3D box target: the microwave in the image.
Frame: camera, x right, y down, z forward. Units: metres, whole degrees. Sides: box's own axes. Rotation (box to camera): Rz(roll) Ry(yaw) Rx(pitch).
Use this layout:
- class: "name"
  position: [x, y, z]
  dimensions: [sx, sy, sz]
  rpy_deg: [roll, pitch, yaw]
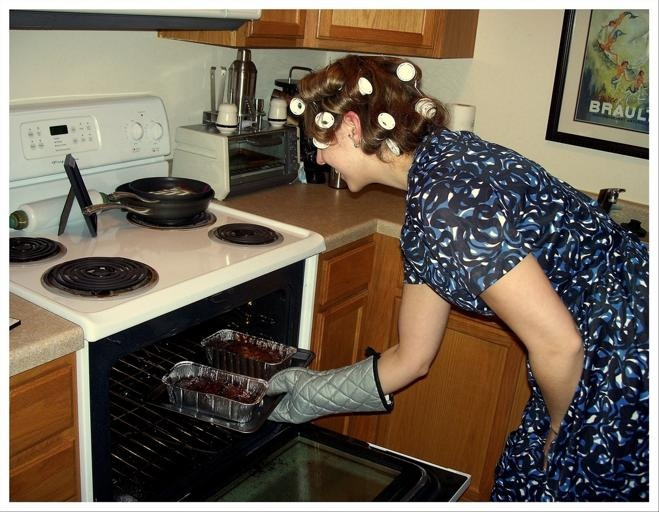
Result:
- class: "microwave"
  position: [-0.364, -0.395, 2.052]
  dimensions: [0.329, 0.223, 0.426]
  rpy_deg: [19, 27, 35]

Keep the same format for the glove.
- class: "glove"
  position: [-0.002, 0.367, 1.429]
  dimensions: [0.469, 0.170, 0.147]
  rpy_deg: [-9, 7, 19]

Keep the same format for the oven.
- class: "oven"
  position: [-0.172, 0.333, 1.402]
  dimensions: [0.464, 0.545, 0.852]
  rpy_deg: [13, 25, 26]

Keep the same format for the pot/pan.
- class: "pot/pan"
  position: [-0.536, -0.189, 1.624]
  dimensions: [0.296, 0.043, 0.176]
  rpy_deg: [-16, 34, -38]
